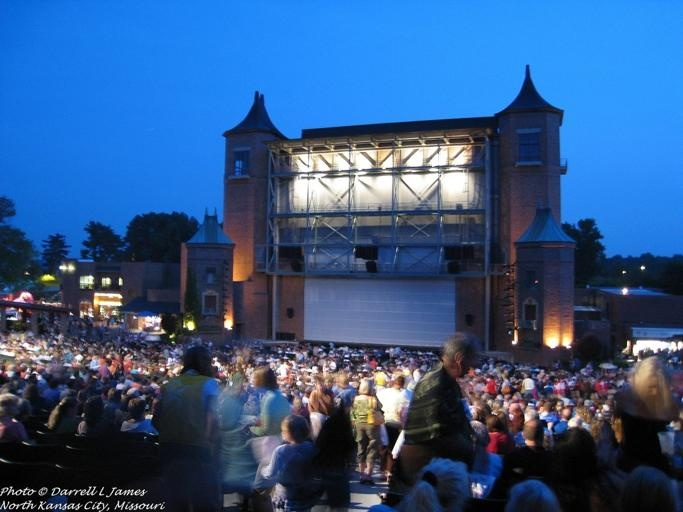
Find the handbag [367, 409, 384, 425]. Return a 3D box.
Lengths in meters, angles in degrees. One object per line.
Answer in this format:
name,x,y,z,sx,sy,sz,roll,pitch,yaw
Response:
handbag,0.783,3.709,21.832,0.306,0.231,0.316,-2,-5,5

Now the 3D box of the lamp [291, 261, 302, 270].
lamp,-2.420,0.530,51.753,0.479,0.596,0.471,1,9,-9

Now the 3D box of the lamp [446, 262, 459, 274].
lamp,5.708,0.620,47.976,0.691,0.664,0.529,-5,-13,28

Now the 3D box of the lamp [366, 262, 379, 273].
lamp,1.623,0.548,49.881,0.543,0.669,0.564,-6,-6,42
